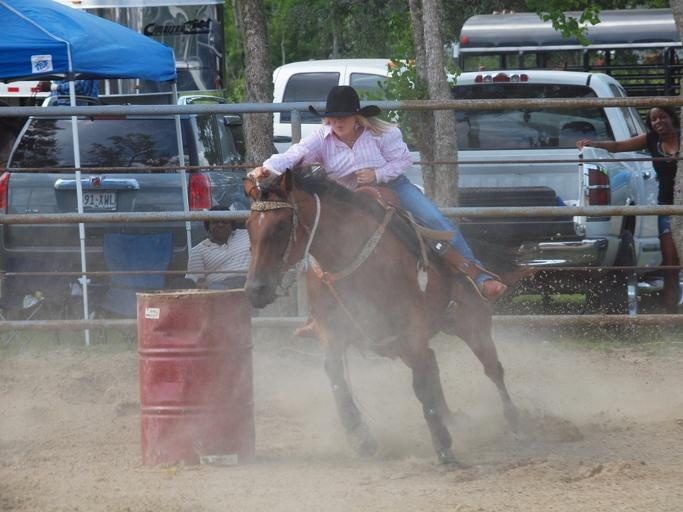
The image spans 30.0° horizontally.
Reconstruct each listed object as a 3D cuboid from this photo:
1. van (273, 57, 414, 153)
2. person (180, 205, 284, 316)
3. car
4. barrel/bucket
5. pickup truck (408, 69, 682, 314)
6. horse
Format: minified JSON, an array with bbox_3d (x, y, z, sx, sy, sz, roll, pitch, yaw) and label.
[{"bbox_3d":[-0.068,-1.980,16.621,1.884,0.952,1.127,-2,10,11],"label":"van"},{"bbox_3d":[-1.268,0.024,13.436,1.441,1.168,0.724,-2,-19,-4],"label":"person"},{"bbox_3d":[-2.437,-0.684,14.755,1.781,1.568,2.986,-1,8,5],"label":"car"},{"bbox_3d":[-1.239,1.016,10.755,0.936,1.447,0.380,-2,15,-2],"label":"barrel/bucket"},{"bbox_3d":[2.300,-0.979,13.973,1.946,1.654,3.520,0,10,13],"label":"pickup truck"},{"bbox_3d":[0.415,0.475,11.349,1.001,2.369,3.565,-5,-5,37],"label":"horse"}]
